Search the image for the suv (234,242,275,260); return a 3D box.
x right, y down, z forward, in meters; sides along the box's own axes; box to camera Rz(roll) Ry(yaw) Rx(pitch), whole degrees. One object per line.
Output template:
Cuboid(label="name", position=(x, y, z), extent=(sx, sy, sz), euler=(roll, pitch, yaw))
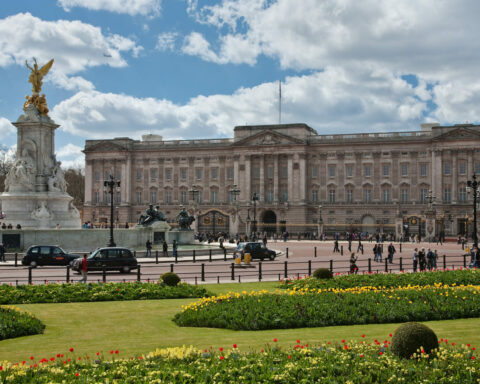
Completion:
Cuboid(label="suv", position=(1.087, 4.128, 78.890), extent=(2.370, 0.977, 1.332), euler=(-2, 2, -19))

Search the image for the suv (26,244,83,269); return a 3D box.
Cuboid(label="suv", position=(-12.050, 4.084, 70.576), extent=(3.017, 1.122, 1.444), euler=(-1, 0, -9))

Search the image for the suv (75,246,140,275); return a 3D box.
Cuboid(label="suv", position=(-7.802, 3.980, 66.231), extent=(3.371, 1.612, 4.528), euler=(1, -6, -4))
